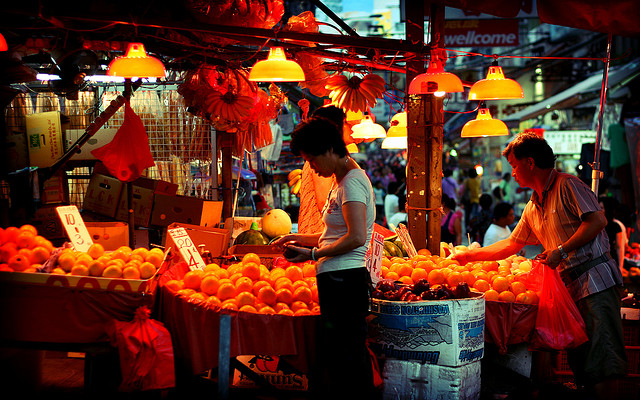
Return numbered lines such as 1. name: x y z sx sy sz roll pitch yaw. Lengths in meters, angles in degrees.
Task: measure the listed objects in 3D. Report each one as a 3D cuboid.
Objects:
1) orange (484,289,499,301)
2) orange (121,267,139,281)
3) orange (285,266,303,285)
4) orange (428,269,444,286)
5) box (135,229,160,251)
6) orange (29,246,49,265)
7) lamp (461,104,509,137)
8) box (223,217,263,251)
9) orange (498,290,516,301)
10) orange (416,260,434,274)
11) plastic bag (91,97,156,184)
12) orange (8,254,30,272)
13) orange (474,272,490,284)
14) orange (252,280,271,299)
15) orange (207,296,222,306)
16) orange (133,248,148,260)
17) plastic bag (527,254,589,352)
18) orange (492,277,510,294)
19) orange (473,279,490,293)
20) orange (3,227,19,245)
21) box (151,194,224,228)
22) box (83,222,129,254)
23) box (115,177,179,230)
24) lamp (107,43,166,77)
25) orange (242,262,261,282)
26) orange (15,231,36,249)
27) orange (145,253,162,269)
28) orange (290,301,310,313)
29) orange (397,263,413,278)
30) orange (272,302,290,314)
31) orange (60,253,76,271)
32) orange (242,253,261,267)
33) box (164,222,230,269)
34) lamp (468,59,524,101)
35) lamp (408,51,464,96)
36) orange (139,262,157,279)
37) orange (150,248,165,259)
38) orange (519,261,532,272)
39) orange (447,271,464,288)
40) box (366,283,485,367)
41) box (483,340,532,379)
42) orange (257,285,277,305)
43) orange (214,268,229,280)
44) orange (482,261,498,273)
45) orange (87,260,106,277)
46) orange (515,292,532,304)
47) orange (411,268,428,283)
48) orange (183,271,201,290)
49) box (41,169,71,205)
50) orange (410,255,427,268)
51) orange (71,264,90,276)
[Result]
1. orange: 1.804 0.985 6.088 0.146 0.093 0.132 1 2 16
2. orange: -1.935 0.740 5.880 0.181 0.115 0.133 0 2 -5
3. orange: -0.297 0.814 6.443 0.167 0.169 0.193 -25 -2 -19
4. orange: 1.284 0.837 6.408 0.155 0.187 0.154 -1 8 33
5. box: -2.510 0.569 8.383 0.277 0.271 0.146 3 -9 -40
6. orange: -2.935 0.577 6.042 0.170 0.211 0.171 -6 -13 -13
7. lamp: 2.102 -0.988 7.397 0.431 0.299 0.434 -3 3 -12
8. box: -1.158 0.436 8.402 0.538 0.403 0.394 0 -2 -21
9. orange: 1.945 0.989 6.040 0.099 0.123 0.102 -2 2 4
10. orange: 1.203 0.745 6.609 0.156 0.135 0.137 18 -24 3
11. plastic bag: -2.608 -0.865 7.690 0.825 1.190 0.712 -2 24 -37
12. orange: -3.064 0.631 5.931 0.161 0.163 0.163 -16 21 -9
13. orange: 1.783 0.832 6.383 0.111 0.131 0.111 -23 27 -12
14. orange: -0.612 0.897 6.055 0.176 0.149 0.149 19 27 -20
15. orange: -1.081 1.016 5.913 0.077 0.080 0.095 -12 -14 38
16. orange: -1.934 0.564 6.270 0.112 0.114 0.104 11 -45 -32
17. plastic bag: 2.396 1.038 5.772 0.528 0.961 0.490 -29 -40 31
18. orange: 1.920 0.901 6.212 0.147 0.180 0.147 20 -31 -8
19. orange: 1.725 0.915 6.212 0.139 0.122 0.118 36 -43 -23
20. orange: -3.304 0.372 6.239 0.144 0.147 0.176 0 38 -14
21. box: -1.976 0.158 8.616 1.032 0.490 0.379 0 2 -16
22. box: -2.665 0.471 7.190 0.399 0.400 0.217 -1 0 -7
23. box: -2.595 -0.003 8.943 0.790 0.796 0.801 11 -11 4
24. lamp: -1.932 -1.481 6.116 0.554 0.391 0.314 0 2 -15
25. orange: -0.740 0.765 6.369 0.186 0.189 0.172 -20 -13 -23
26. orange: -3.129 0.420 6.161 0.164 0.179 0.196 -10 17 -25
27. orange: -1.764 0.625 6.153 0.142 0.144 0.132 -9 20 -18
28. orange: -0.218 1.082 5.941 0.109 0.110 0.111 -7 -18 13
29. orange: 0.965 0.776 6.593 0.128 0.155 0.140 10 11 25
30. orange: -0.399 1.085 5.918 0.173 0.075 0.141 0 2 -3
31. orange: -2.577 0.643 5.995 0.136 0.176 0.148 -18 -30 28
32. orange: -0.778 0.659 6.617 0.159 0.141 0.141 1 -39 4
33. box: -1.527 0.650 7.222 0.841 0.601 0.458 10 -3 -4
34. lamp: 2.041 -1.361 6.649 0.487 0.358 0.460 -2 5 -3
35. lamp: 1.375 -1.461 6.750 0.487 0.357 0.439 -4 8 -20
36. orange: -1.781 0.719 5.982 0.147 0.153 0.142 7 -27 43
37. orange: -1.768 0.551 6.311 0.103 0.106 0.125 -7 -32 3
38. orange: 2.392 0.758 6.756 0.103 0.105 0.103 35 -26 -2
39. orange: 1.468 0.853 6.279 0.146 0.154 0.177 -11 -32 -6
40. box: 1.053 1.266 5.882 1.183 0.607 0.656 -5 0 29
41. box: 1.962 1.639 6.045 0.484 0.369 0.183 1 2 15
42. orange: -0.540 0.967 5.947 0.164 0.196 0.169 16 41 25
43. orange: -1.078 0.788 6.379 0.121 0.096 0.111 3 22 1
44. orange: 1.971 0.756 6.703 0.125 0.156 0.128 -12 -17 23
45. orange: -2.264 0.686 5.869 0.146 0.145 0.146 -12 -28 -18
46. orange: 2.109 1.010 5.994 0.107 0.110 0.127 -16 37 -3
47. orange: 1.107 0.814 6.502 0.139 0.138 0.161 -17 10 -9
48. orange: -1.363 0.817 6.171 0.160 0.193 0.170 -4 -44 -30
49. box: -4.142 -0.131 8.945 0.413 0.502 0.412 -7 -27 -19
50. orange: 1.163 0.706 6.873 0.135 0.168 0.138 -22 -31 30
51. orange: -2.420 0.705 5.839 0.122 0.116 0.122 -7 30 -23
